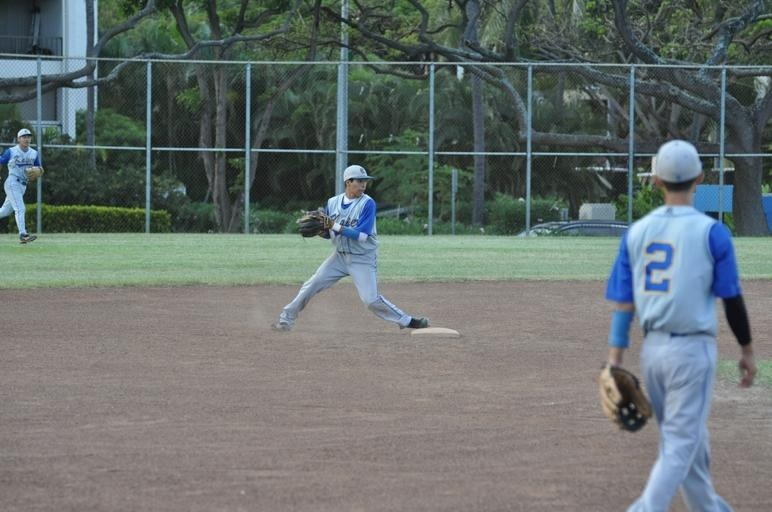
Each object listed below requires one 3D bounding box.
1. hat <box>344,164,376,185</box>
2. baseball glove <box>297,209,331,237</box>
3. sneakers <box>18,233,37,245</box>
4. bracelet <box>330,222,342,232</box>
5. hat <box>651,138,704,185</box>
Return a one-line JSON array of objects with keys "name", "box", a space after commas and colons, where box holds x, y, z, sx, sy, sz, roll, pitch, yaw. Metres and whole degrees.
[{"name": "hat", "box": [-0.532, -1.656, 28.525, 0.603, 0.293, 0.421, 3, 7, 11]}, {"name": "baseball glove", "box": [-1.415, -0.658, 28.516, 0.531, 0.426, 0.615, 2, 6, -38]}, {"name": "sneakers", "box": [-9.801, -0.455, 38.373, 0.517, 0.167, 0.246, -8, -38, 23]}, {"name": "bracelet", "box": [-1.001, -0.586, 28.353, 0.174, 0.163, 0.168, 0, -7, 1]}, {"name": "hat", "box": [4.932, -1.641, 23.702, 0.594, 0.318, 0.831, 0, 38, 10]}]
